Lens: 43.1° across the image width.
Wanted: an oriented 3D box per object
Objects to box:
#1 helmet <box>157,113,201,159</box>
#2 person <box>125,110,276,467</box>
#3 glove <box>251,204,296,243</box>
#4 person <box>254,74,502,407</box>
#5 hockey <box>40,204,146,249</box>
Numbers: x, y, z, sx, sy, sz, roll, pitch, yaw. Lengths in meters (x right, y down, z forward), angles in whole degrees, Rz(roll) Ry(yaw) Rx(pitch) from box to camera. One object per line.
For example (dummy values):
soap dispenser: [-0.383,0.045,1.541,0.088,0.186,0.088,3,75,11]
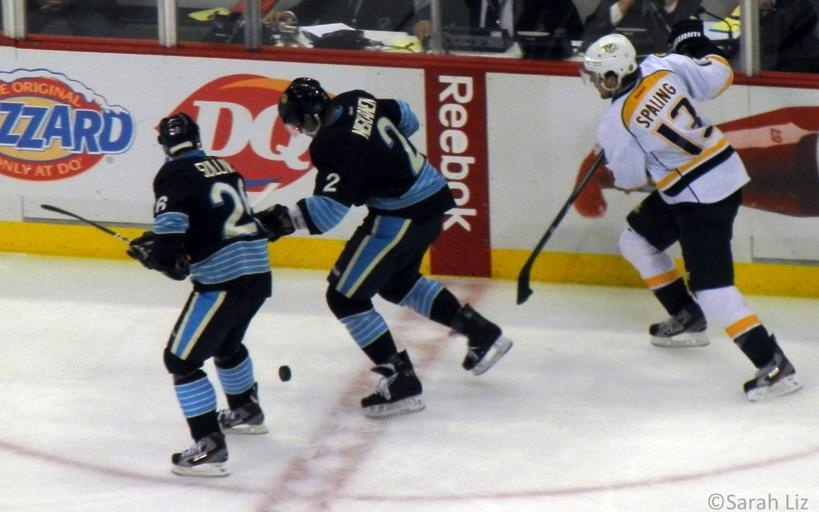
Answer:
helmet: [-1.357,-0.679,5.974,0.253,0.258,0.272,-10,22,-3]
person: [-1.100,0.321,5.784,0.692,1.660,0.739,-3,20,-17]
glove: [-0.789,-0.200,5.993,0.184,0.095,0.251,-13,4,-41]
person: [-0.186,-0.057,6.215,1.435,1.922,0.757,-1,19,-12]
hockey: [-2.366,-0.234,7.728,1.129,0.102,0.151,12,58,27]
